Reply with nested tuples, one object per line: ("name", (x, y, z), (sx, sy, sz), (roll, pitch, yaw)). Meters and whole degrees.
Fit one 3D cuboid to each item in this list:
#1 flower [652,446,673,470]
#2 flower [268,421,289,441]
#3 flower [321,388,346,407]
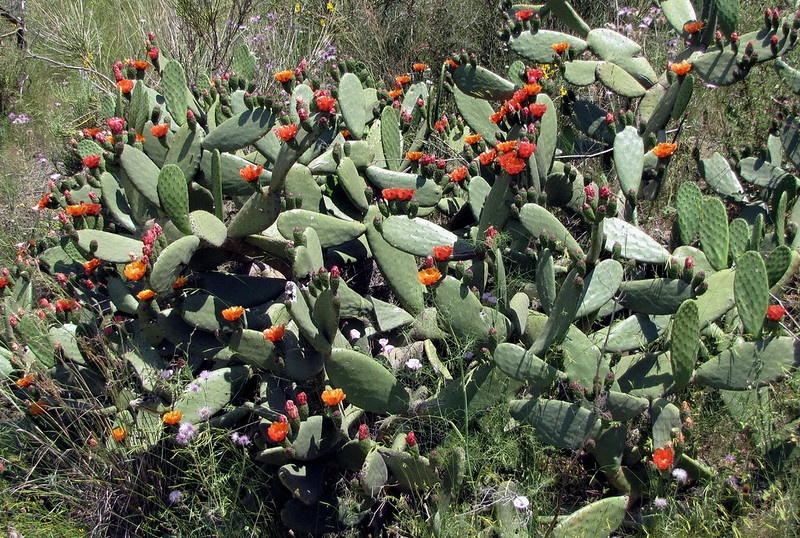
("flower", (1.279, 0.918, 3.486), (0.083, 0.054, 0.123), (4, 76, 14))
("flower", (-0.624, 0.839, 3.677), (0.097, 0.135, 0.082), (2, 35, -6))
("flower", (-0.343, 0.655, 3.738), (0.108, 0.080, 0.106), (-7, 12, -36))
